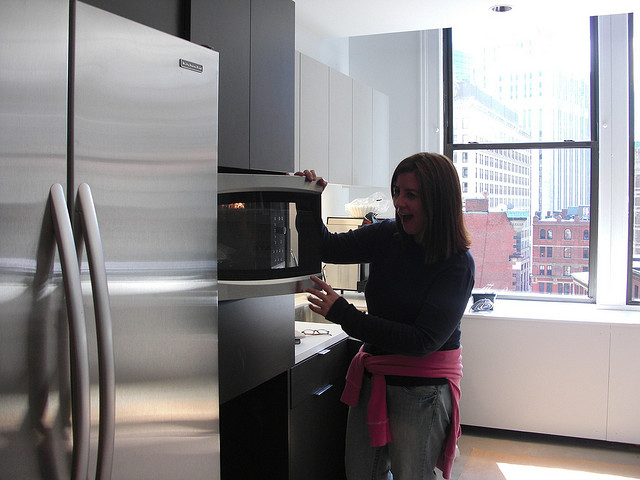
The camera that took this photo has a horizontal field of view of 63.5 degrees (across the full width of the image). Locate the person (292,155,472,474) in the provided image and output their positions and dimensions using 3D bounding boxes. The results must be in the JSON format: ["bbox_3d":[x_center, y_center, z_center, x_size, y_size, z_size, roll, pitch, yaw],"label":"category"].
[{"bbox_3d":[0.253,0.331,2.001,0.624,1.315,0.510,2,6,15],"label":"person"}]

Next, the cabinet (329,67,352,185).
[{"bbox_3d":[0.144,-0.766,3.547,0.200,0.633,0.332,0,9,-2],"label":"cabinet"}]

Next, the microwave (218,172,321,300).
[{"bbox_3d":[-0.282,0.007,1.769,0.275,0.365,0.493,-18,-9,38],"label":"microwave"}]

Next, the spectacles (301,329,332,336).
[{"bbox_3d":[-0.025,0.472,2.659,0.145,0.007,0.117,1,6,-1],"label":"spectacles"}]
